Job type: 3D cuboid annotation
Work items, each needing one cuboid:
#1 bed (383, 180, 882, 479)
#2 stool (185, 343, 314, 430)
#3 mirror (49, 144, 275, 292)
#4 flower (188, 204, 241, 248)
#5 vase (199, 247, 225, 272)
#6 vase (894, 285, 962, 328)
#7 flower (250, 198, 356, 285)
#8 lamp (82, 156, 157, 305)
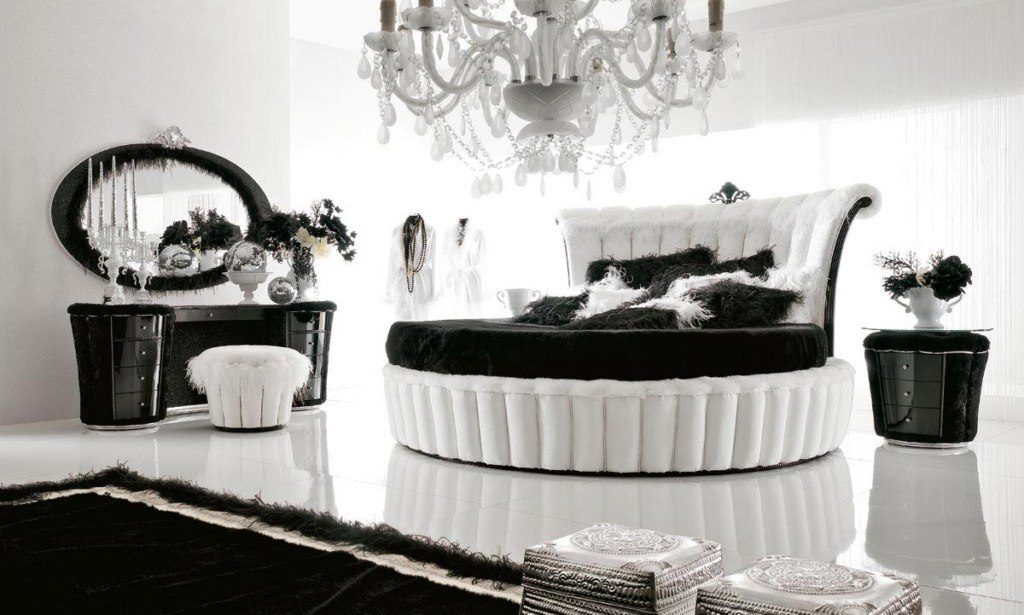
[{"bbox_3d":[1.213,0.352,5.989,2.818,1.652,2.828,-3,-6,44],"label":"bed"},{"bbox_3d":[-2.248,0.630,6.689,0.804,0.530,0.794,-1,1,-19],"label":"stool"},{"bbox_3d":[-3.503,-0.844,7.594,0.069,1.097,1.555,-2,3,44],"label":"mirror"},{"bbox_3d":[-3.029,-0.828,7.934,0.433,0.266,0.426,1,8,-13],"label":"flower"},{"bbox_3d":[-3.080,-0.479,7.978,0.228,0.168,0.215,-2,7,-11],"label":"vase"},{"bbox_3d":[3.309,-0.009,6.230,0.326,0.324,0.352,6,12,31],"label":"vase"},{"bbox_3d":[-1.992,-0.668,8.024,0.916,0.931,0.918,-5,2,10],"label":"flower"},{"bbox_3d":[-3.648,-0.700,7.197,0.606,1.411,0.955,-5,12,-25],"label":"lamp"}]
